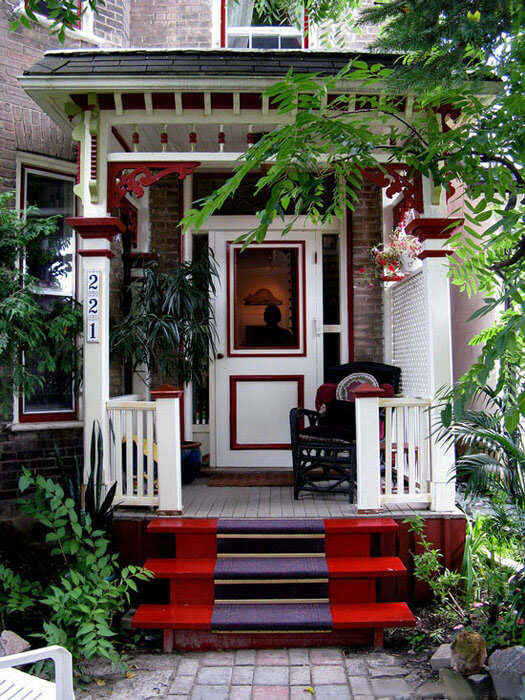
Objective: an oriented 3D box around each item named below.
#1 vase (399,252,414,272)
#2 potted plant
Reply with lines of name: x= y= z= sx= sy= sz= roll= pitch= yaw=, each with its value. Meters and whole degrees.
vase: x=1.208 y=-0.742 z=5.385 sx=0.046 sy=0.142 sz=0.129 roll=-8 pitch=33 yaw=-25
potted plant: x=-0.819 y=-0.257 z=5.368 sx=0.804 sy=1.094 sz=1.010 roll=-1 pitch=0 yaw=-2
